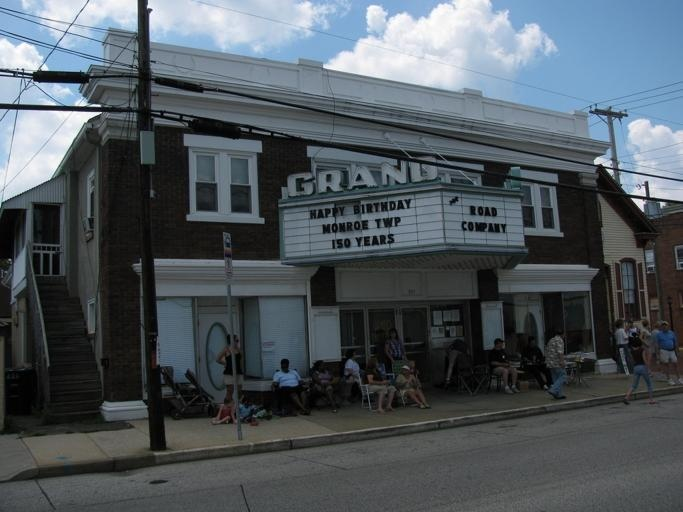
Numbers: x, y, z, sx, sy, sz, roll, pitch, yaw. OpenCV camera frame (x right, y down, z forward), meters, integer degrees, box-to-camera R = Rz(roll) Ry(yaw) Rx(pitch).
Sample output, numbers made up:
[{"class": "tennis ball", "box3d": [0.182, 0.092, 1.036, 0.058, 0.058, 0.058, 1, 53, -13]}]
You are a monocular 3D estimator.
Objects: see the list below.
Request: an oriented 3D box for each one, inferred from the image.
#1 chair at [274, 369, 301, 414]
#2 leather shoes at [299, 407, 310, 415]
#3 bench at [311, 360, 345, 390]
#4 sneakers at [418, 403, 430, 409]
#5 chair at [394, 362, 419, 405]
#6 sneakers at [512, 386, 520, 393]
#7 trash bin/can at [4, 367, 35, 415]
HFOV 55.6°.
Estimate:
[{"class": "chair", "box3d": [-1.482, 3.570, 17.899, 0.780, 1.450, 0.591, -2, -8, -6]}, {"class": "leather shoes", "box3d": [-0.976, 4.201, 17.653, 0.287, 0.171, 0.161, 2, -9, -30]}, {"class": "bench", "box3d": [-0.457, 3.555, 19.507, 0.770, 0.426, 1.056, 3, 13, -20]}, {"class": "sneakers", "box3d": [2.327, 4.196, 18.226, 0.109, 0.122, 0.317, 3, -9, -41]}, {"class": "chair", "box3d": [1.910, 3.703, 18.743, 0.683, 1.190, 1.499, -4, -8, 4]}, {"class": "sneakers", "box3d": [5.586, 4.269, 20.801, 0.130, 0.167, 0.387, 2, -8, -36]}, {"class": "trash bin/can", "box3d": [-9.080, 3.815, 18.348, 0.749, 1.302, 0.622, 1, -9, -27]}]
